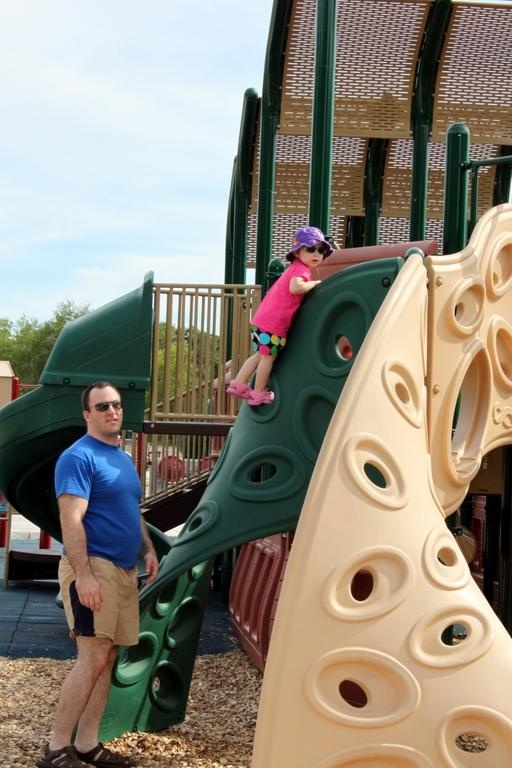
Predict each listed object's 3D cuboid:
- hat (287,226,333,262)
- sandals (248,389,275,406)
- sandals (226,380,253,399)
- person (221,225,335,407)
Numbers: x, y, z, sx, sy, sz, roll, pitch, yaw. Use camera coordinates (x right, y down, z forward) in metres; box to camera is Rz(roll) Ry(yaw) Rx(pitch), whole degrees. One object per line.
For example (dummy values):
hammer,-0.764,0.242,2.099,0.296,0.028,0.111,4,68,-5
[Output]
hat,0.255,-0.687,3.473,0.166,0.109,0.205,0,-14,-5
sandals,0.030,0.062,3.188,0.102,0.048,0.057,-8,10,-29
sandals,-0.063,0.030,3.349,0.140,0.067,0.064,7,3,42
person,0.107,-0.318,3.332,0.467,0.809,0.440,-1,6,-2
